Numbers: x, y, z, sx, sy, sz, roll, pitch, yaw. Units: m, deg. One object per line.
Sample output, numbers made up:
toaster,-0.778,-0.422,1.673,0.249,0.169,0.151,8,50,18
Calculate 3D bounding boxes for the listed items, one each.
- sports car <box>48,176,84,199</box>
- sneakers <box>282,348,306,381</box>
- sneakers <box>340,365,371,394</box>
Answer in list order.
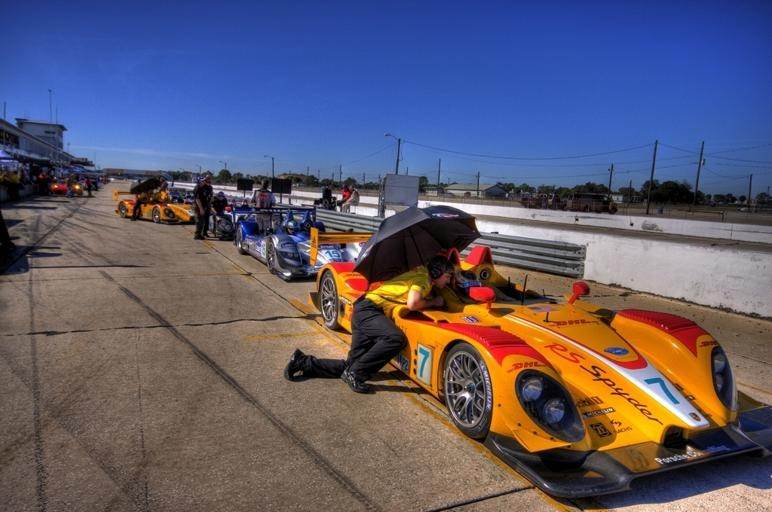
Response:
sports car,-25.551,-5.448,35.674,1.987,1.071,2.985,-6,9,-44
sneakers,-1.098,1.321,5.497,0.208,0.418,0.197,10,-13,39
sneakers,-0.368,1.490,5.251,0.411,0.193,0.169,39,22,17
